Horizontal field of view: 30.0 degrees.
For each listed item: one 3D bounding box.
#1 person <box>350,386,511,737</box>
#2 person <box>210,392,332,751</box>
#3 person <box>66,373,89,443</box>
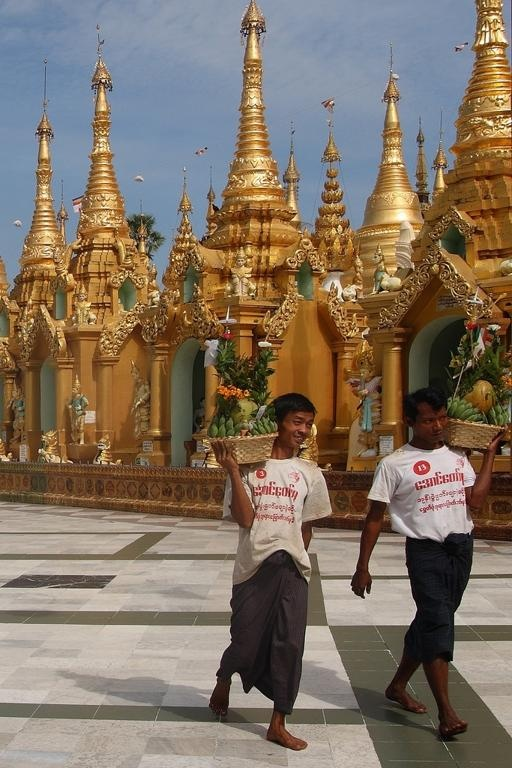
[{"bbox_3d":[0.707,0.719,4.060,0.567,1.396,0.566,-1,-1,15],"label":"person"},{"bbox_3d":[0.036,0.740,4.010,0.505,1.393,0.546,-1,-1,12],"label":"person"},{"bbox_3d":[-3.418,0.521,18.588,0.317,1.325,0.473,0,-1,-21],"label":"person"}]
